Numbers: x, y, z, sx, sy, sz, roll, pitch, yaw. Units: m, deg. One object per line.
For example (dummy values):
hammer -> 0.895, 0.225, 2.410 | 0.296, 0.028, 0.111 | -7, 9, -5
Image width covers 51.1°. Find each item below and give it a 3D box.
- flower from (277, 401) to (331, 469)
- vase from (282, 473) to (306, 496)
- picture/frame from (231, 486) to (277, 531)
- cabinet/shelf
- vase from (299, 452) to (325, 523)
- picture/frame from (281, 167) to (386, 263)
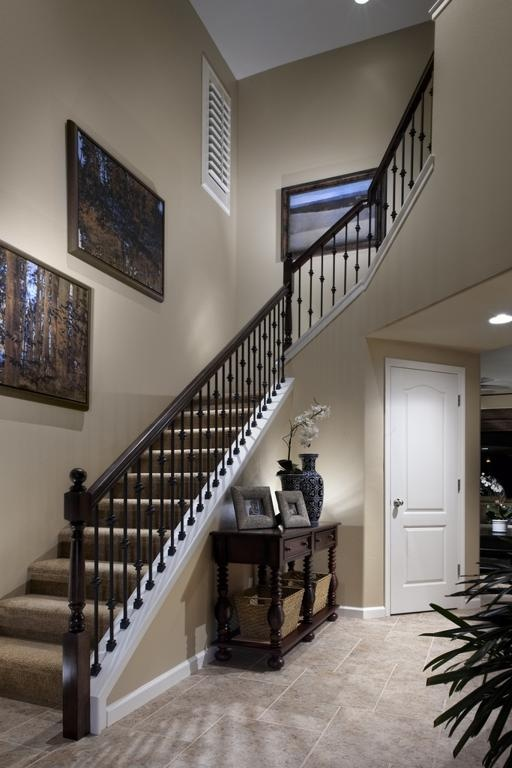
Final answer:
flower -> 0.380, 0.399, 4.211 | 0.365, 0.591, 0.749 | 0, -10, 6
vase -> 0.257, 0.694, 3.845 | 0.121, 0.120, 0.142 | -2, -3, 31
picture/frame -> -0.025, 0.755, 3.255 | 0.028, 0.246, 0.226 | -32, -29, 36
cabinet/shelf -> 0.147, 1.317, 3.535 | 0.611, 0.774, 1.260 | -1, -11, 15
vase -> 0.409, 0.783, 4.055 | 0.172, 0.502, 0.207 | -1, -5, -4
picture/frame -> 0.854, -1.811, 5.686 | 1.093, 1.007, 0.100 | -6, -4, 29
